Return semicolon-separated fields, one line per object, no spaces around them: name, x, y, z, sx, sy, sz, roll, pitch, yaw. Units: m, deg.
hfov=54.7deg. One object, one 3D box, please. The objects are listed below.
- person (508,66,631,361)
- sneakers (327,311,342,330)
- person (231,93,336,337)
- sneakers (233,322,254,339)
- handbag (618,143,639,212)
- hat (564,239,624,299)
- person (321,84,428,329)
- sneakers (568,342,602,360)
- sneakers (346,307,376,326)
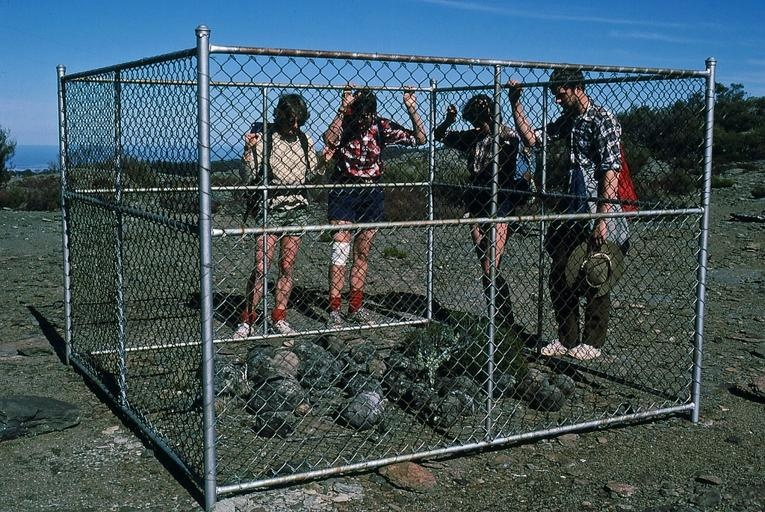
person;1.792;-0.339;6.995;1.010;2.736;0.980;5;12;25
sneakers;-0.514;0.671;7.689;0.192;0.189;0.139;-2;-5;-7
person;-1.046;-0.354;7.314;0.914;2.426;1.586;-1;11;-5
sneakers;-1.355;0.726;7.178;0.131;0.120;0.251;0;-3;-5
handbag;2.287;-0.706;6.860;0.178;0.632;1.200;3;12;18
hat;2.004;0.117;6.914;0.594;0.544;0.261;0;11;0
person;-0.153;-0.437;7.490;0.849;2.456;1.321;-1;11;-5
sneakers;1.952;0.926;7.128;0.278;0.110;0.156;0;24;23
sneakers;-0.234;0.648;7.924;0.284;0.135;0.148;4;8;30
